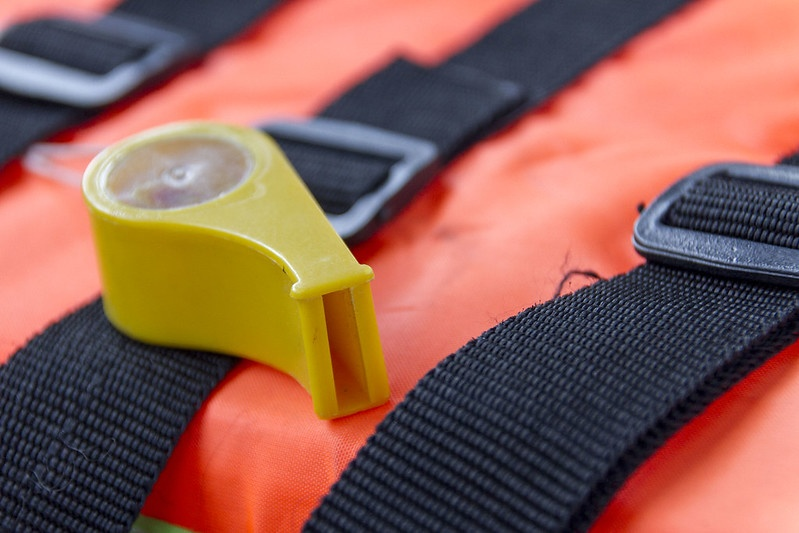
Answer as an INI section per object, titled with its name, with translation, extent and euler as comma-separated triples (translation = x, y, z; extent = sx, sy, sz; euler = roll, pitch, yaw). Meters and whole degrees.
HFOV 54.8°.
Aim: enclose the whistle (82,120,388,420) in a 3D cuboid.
[whistle]
translation = -0.171, 0.001, 0.811
extent = 0.365, 0.161, 0.202
euler = 30, 43, 34
